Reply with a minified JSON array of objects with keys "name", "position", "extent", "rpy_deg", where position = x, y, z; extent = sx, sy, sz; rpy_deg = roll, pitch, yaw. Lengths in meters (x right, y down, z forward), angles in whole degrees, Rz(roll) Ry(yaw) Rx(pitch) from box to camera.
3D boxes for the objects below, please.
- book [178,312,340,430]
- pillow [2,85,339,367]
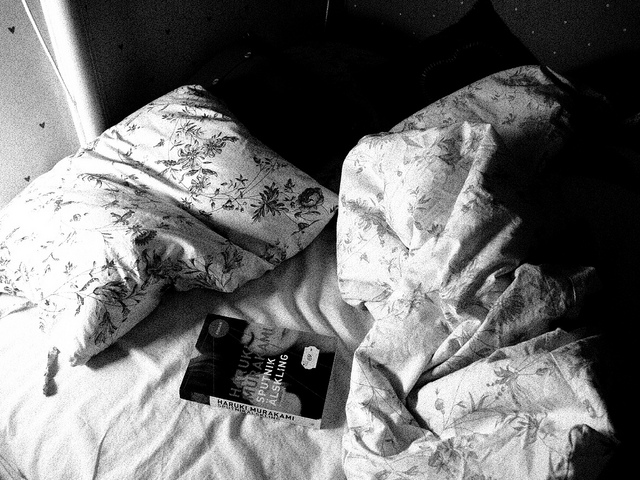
[{"name":"book","position":[-0.136,0.290,1.363],"extent":[0.331,0.131,0.191],"rpy_deg":[15,30,1]},{"name":"pillow","position":[-0.352,0.102,1.664],"extent":[0.669,0.215,0.695],"rpy_deg":[-39,49,-18]}]
